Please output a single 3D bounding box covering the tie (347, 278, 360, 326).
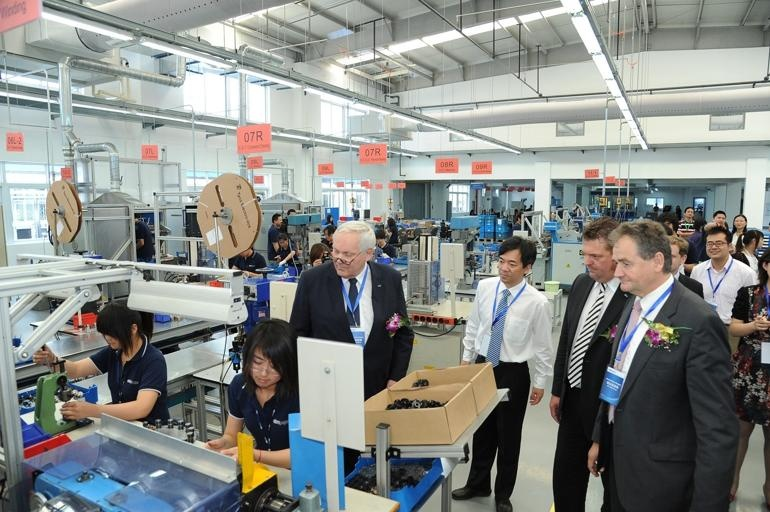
[{"bbox_3d":[-0.245,0.366,4.696,0.094,0.369,0.094,-1,6,-6],"label":"tie"}]

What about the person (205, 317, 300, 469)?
[{"bbox_3d":[-0.924,0.982,4.246,0.578,1.027,0.343,0,6,10],"label":"person"}]

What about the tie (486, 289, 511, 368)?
[{"bbox_3d":[0.996,0.628,5.141,0.155,0.677,0.058,9,-19,18],"label":"tie"}]

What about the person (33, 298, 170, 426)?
[{"bbox_3d":[-2.152,0.829,4.656,0.744,0.933,0.653,-4,6,-30],"label":"person"}]

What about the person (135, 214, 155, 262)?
[{"bbox_3d":[-3.664,-0.244,9.007,0.247,0.689,0.834,-3,6,-22],"label":"person"}]

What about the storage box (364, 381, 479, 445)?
[{"bbox_3d":[0.282,1.093,4.151,0.517,0.185,0.504,-3,0,20],"label":"storage box"}]

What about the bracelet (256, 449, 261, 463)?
[{"bbox_3d":[-0.881,1.418,4.147,0.017,0.065,0.058,9,-9,4],"label":"bracelet"}]
